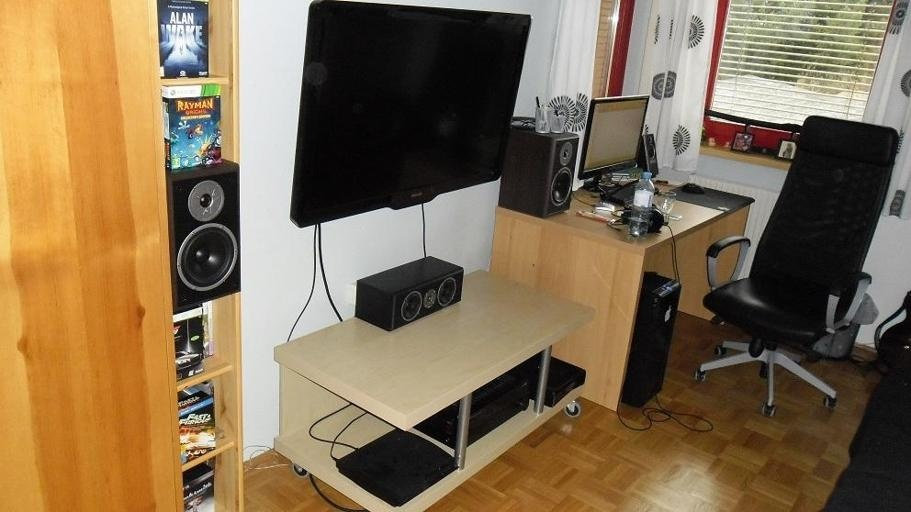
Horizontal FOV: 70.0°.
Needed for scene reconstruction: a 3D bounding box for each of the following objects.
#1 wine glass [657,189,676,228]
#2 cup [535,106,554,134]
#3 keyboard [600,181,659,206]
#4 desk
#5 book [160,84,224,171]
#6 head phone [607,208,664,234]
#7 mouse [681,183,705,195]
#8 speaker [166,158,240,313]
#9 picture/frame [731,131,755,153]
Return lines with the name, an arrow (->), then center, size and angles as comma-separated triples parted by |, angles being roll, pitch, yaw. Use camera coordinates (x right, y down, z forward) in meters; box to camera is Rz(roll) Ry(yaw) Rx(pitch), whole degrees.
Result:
wine glass -> 1.316, -0.289, 4.053 | 0.109, 0.257, 0.123 | -44, 52, -17
cup -> 0.524, -0.802, 3.832 | 0.111, 0.137, 0.154 | 0, 17, 0
keyboard -> 1.094, -0.399, 4.274 | 0.297, 0.054, 0.197 | -25, 38, -38
desk -> 0.971, 0.247, 3.929 | 0.706, 0.738, 1.310 | 23, 31, 33
book -> -1.036, -0.517, 2.564 | 0.248, 0.308, 0.133 | -12, 32, -23
head phone -> 1.076, -0.209, 3.837 | 0.249, 0.096, 0.178 | 1, 5, 16
mouse -> 1.655, -0.469, 4.533 | 0.109, 0.034, 0.103 | 2, 19, 2
speaker -> -1.010, -0.079, 2.623 | 0.345, 0.525, 0.179 | -12, 32, -23
picture/frame -> 2.146, -0.850, 4.847 | 0.154, 0.159, 0.017 | 17, 2, 15
